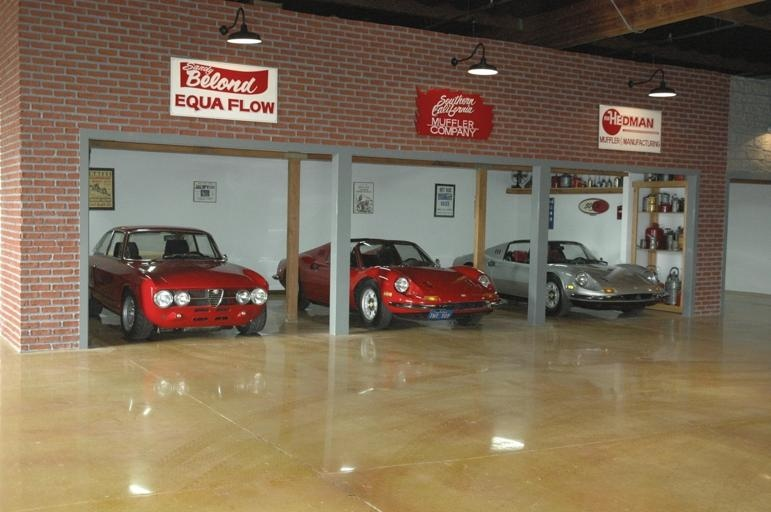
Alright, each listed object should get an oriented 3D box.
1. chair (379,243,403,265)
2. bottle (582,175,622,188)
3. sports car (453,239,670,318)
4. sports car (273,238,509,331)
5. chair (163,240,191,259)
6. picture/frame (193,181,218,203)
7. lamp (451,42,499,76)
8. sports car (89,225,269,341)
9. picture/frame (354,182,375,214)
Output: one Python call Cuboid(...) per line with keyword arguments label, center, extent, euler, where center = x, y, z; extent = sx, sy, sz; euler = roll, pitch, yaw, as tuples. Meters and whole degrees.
Cuboid(label="chair", center=(0.066, -0.030, 9.729), extent=(0.306, 0.402, 0.151), euler=(-2, -21, -33))
Cuboid(label="bottle", center=(5.283, -1.853, 13.789), extent=(0.261, 0.333, 1.289), euler=(-2, 6, -27))
Cuboid(label="sports car", center=(3.261, 0.500, 10.974), extent=(1.633, 0.920, 3.115), euler=(0, 4, -35))
Cuboid(label="sports car", center=(-0.170, 0.401, 9.690), extent=(1.737, 0.944, 3.276), euler=(0, 3, -40))
Cuboid(label="chair", center=(-3.285, -0.090, 8.785), extent=(0.328, 0.300, 0.302), euler=(5, -22, -21))
Cuboid(label="picture/frame", center=(-4.105, -1.470, 12.626), extent=(0.562, 0.452, 0.056), euler=(-1, 2, -30))
Cuboid(label="lamp", center=(1.329, -3.012, 8.463), extent=(0.659, 0.378, 0.362), euler=(6, 13, 17))
Cuboid(label="sports car", center=(-3.481, 0.323, 8.644), extent=(1.599, 1.014, 2.858), euler=(1, 2, -33))
Cuboid(label="picture/frame", center=(-0.570, -1.459, 14.338), extent=(0.627, 0.764, 0.039), euler=(-2, 7, -33))
